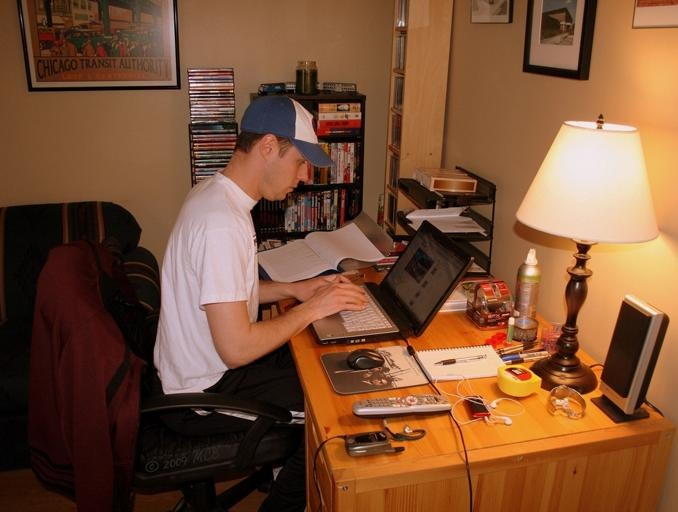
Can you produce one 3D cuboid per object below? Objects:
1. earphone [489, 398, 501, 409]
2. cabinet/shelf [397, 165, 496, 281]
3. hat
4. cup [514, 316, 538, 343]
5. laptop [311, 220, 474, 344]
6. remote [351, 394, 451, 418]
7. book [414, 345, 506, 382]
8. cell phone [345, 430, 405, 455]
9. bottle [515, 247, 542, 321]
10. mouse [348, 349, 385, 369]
[{"bbox_3d":[0.470,0.445,1.606,0.013,0.008,0.044,16,26,24],"label":"earphone"},{"bbox_3d":[0.592,-0.178,2.809,0.326,0.472,0.565,2,13,5],"label":"cabinet/shelf"},{"bbox_3d":[-0.178,-0.451,1.912,0.317,0.176,0.214,18,20,-16],"label":"hat"},{"bbox_3d":[0.661,0.261,1.884,0.080,0.059,0.084,2,15,0],"label":"cup"},{"bbox_3d":[0.195,0.131,1.945,0.452,0.316,0.456,-6,20,-9],"label":"laptop"},{"bbox_3d":[0.190,0.416,1.568,0.303,0.058,0.103,-1,13,-14],"label":"remote"},{"bbox_3d":[0.399,0.351,1.748,0.157,0.035,0.129,-3,24,-5],"label":"book"},{"bbox_3d":[0.090,0.510,1.448,0.098,0.021,0.072,-3,21,-12],"label":"cell phone"},{"bbox_3d":[0.684,0.100,1.930,0.075,0.268,0.065,12,29,27],"label":"bottle"},{"bbox_3d":[0.086,0.327,1.707,0.087,0.031,0.064,-4,18,-12],"label":"mouse"}]
